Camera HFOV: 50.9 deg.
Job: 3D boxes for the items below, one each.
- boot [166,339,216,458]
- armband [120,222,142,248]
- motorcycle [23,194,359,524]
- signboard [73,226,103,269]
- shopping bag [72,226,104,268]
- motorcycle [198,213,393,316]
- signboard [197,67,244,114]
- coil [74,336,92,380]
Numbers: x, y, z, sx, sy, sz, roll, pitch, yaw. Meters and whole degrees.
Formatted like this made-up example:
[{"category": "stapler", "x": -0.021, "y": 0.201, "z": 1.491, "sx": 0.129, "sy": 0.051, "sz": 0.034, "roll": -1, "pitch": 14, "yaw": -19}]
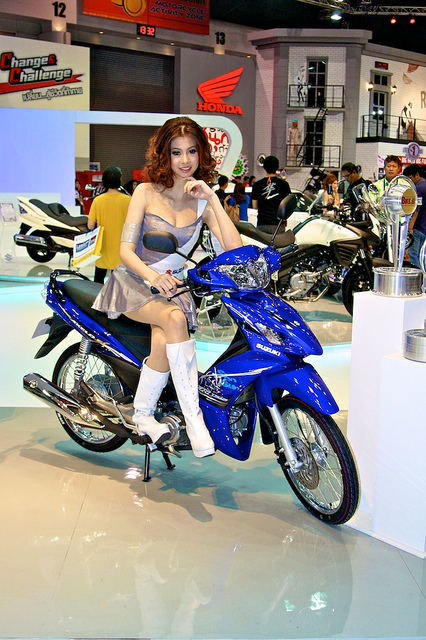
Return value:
[{"category": "boot", "x": -0.082, "y": 0.305, "z": 1.716, "sx": 0.196, "sy": 0.452, "sz": 0.143, "roll": 2, "pitch": 2, "yaw": 8}, {"category": "armband", "x": -0.328, "y": -0.357, "z": 1.868, "sx": 0.083, "sy": 0.092, "sz": 0.083, "roll": 15, "pitch": -2, "yaw": -1}, {"category": "motorcycle", "x": -0.034, "y": 0.127, "z": 2.379, "sx": 1.868, "sy": 1.237, "sz": 0.974, "roll": 10, "pitch": 16, "yaw": 33}, {"category": "signboard", "x": -0.801, "y": -0.486, "z": 2.783, "sx": 0.082, "sy": 0.252, "sz": 0.274, "roll": 30, "pitch": 31, "yaw": 2}, {"category": "shopping bag", "x": -0.779, "y": -0.480, "z": 2.844, "sx": 0.268, "sy": 0.246, "sz": 0.083, "roll": -13, "pitch": -17, "yaw": 38}, {"category": "motorcycle", "x": 0.975, "y": -0.777, "z": 5.161, "sx": 2.331, "sy": 1.366, "sz": 0.842, "roll": 0, "pitch": 22, "yaw": -7}, {"category": "signboard", "x": 0.228, "y": -9.716, "z": 18.699, "sx": 2.312, "sy": 2.223, "sz": 0.094, "roll": 0, "pitch": 8, "yaw": -27}, {"category": "coil", "x": -0.649, "y": 0.177, "z": 2.234, "sx": 0.064, "sy": 0.244, "sz": 0.052, "roll": 5, "pitch": -32, "yaw": -14}]
